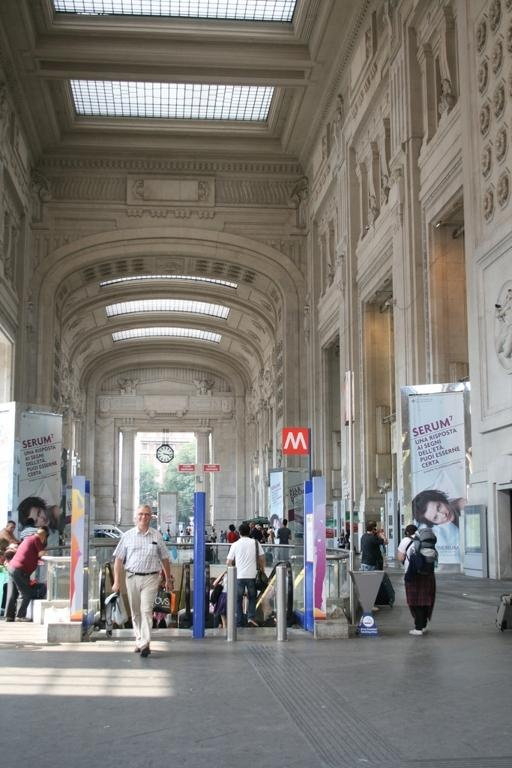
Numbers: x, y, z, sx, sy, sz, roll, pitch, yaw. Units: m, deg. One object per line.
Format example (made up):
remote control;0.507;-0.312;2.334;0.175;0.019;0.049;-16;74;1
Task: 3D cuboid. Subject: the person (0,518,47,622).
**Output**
person;-3.708;3.076;9.927;0.537;1.467;1.184;3;-11;-22

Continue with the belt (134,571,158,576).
belt;-1.154;2.008;6.505;0.235;0.038;0.060;1;-11;-12

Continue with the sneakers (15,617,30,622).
sneakers;-3.718;3.761;9.812;0.230;0.114;0.084;-2;-14;-1

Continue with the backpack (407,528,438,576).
backpack;2.072;2.146;7.592;0.316;0.641;0.490;0;-28;6

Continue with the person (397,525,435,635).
person;1.992;2.386;7.531;0.431;1.253;0.513;-4;-11;17

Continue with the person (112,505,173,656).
person;-1.276;2.203;6.952;0.627;1.618;1.915;1;-11;-13

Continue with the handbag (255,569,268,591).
handbag;0.075;2.963;9.251;0.179;0.350;0.325;-5;-14;12

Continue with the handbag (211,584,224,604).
handbag;-0.606;3.328;9.715;0.080;0.309;0.181;14;-8;-37
